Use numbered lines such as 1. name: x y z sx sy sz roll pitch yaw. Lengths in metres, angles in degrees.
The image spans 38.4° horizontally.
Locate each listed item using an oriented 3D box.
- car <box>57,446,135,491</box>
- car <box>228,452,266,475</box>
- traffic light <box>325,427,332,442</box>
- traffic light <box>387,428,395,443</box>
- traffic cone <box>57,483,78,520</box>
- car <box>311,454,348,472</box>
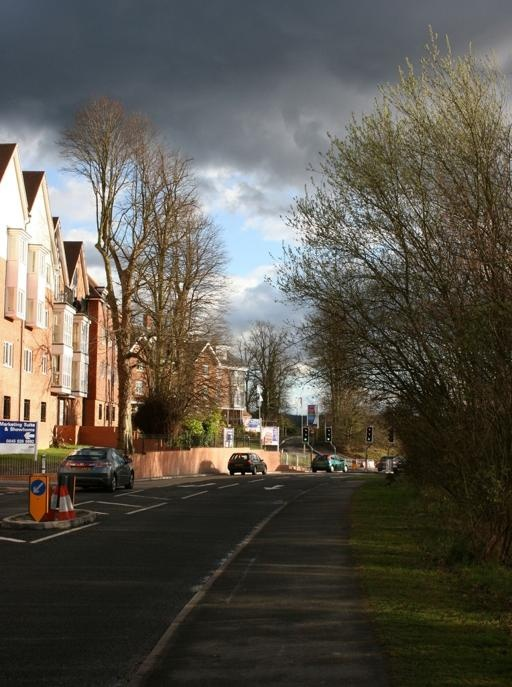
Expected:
1. car: -5.350 4.333 25.240 1.624 1.443 4.439 -1 -10 7
2. car: -0.492 8.123 49.760 1.267 1.033 2.985 -2 -5 20
3. traffic light: 5.919 7.527 60.023 0.767 1.500 0.347 3 10 13
4. traffic light: 3.501 2.378 19.097 0.197 0.176 0.679 -14 -12 5
5. traffic cone: -3.865 3.218 14.988 0.361 0.678 0.700 2 -9 -8
6. car: 5.968 9.851 60.516 1.446 1.110 2.731 -6 -17 26
